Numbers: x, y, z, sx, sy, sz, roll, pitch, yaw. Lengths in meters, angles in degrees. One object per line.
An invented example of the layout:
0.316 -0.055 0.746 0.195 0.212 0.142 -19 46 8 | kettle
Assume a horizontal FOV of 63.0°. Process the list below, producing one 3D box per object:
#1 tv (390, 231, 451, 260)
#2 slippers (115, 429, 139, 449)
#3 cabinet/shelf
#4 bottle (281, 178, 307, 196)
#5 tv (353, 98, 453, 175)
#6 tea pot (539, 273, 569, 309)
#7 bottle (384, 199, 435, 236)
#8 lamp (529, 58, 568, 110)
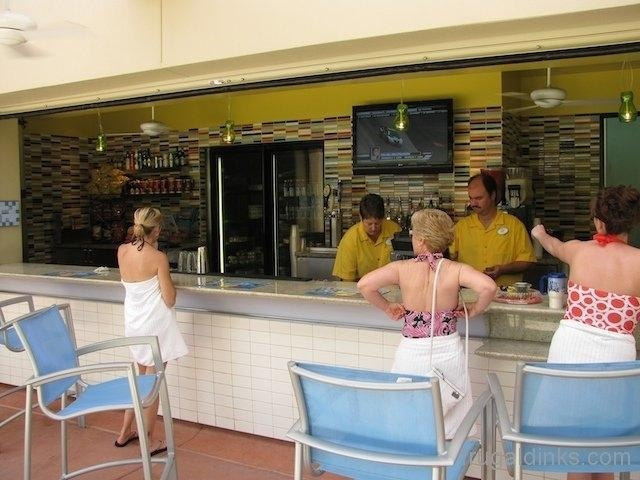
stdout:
0.865 0.009 4.713 0.335 0.302 0.313 -3 3 -37 | tv
-1.430 1.492 3.948 0.088 0.062 0.220 6 9 34 | slippers
-2.955 -0.624 8.184 1.769 1.070 0.507 13 0 13 | cabinet/shelf
-0.349 -0.700 7.032 0.382 0.236 0.061 4 8 37 | bottle
0.971 -1.159 5.892 0.959 0.633 0.101 2 3 23 | tv
1.443 0.300 3.279 0.149 0.240 0.233 -2 2 -32 | tea pot
1.027 -0.343 6.311 0.413 0.548 0.171 0 -14 22 | bottle
2.280 -1.565 5.235 0.276 0.616 1.728 1 7 23 | lamp
